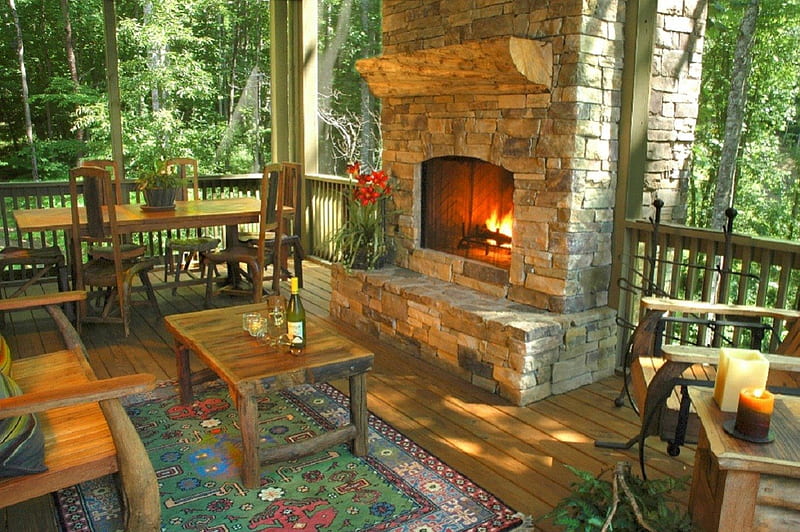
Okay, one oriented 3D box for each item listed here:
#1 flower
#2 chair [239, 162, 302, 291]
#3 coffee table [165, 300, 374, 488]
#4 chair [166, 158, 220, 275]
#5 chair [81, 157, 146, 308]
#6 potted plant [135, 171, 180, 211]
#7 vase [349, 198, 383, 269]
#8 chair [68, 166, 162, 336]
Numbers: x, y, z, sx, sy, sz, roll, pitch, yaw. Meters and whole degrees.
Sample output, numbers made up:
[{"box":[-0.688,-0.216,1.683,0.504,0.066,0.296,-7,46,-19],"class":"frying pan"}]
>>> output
[{"box":[-0.369,-0.601,5.947,0.652,0.969,0.623,-15,27,-42],"class":"flower"},{"box":[-1.204,-0.563,6.557,0.759,1.575,0.710,17,19,40],"class":"chair"},{"box":[-0.959,0.778,4.023,1.015,0.626,1.470,-7,15,-31],"class":"coffee table"},{"box":[-2.367,-0.527,6.564,0.659,1.582,0.559,-5,22,-20],"class":"chair"},{"box":[-2.708,-0.223,5.478,0.622,1.672,0.672,1,15,-30],"class":"chair"},{"box":[-2.479,-0.762,5.899,0.417,0.347,0.415,7,11,35],"class":"potted plant"},{"box":[-0.310,-0.324,5.717,0.298,0.654,0.325,-5,15,-33],"class":"vase"},{"box":[-2.717,-0.157,5.496,0.653,1.488,0.659,5,13,6],"class":"chair"}]
